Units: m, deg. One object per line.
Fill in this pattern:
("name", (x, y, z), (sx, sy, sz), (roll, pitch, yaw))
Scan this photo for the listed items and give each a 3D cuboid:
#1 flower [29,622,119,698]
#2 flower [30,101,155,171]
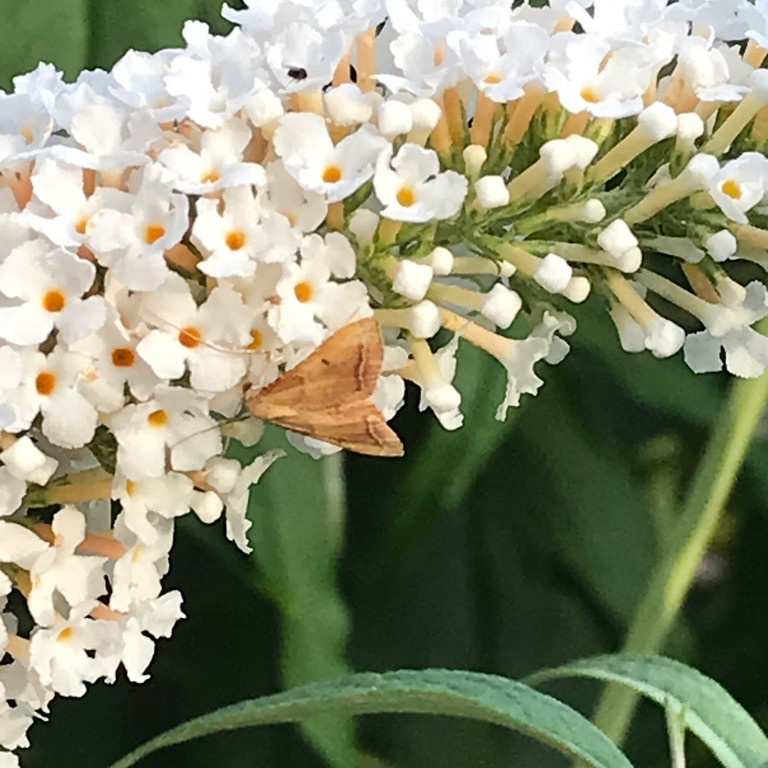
("flower", (-0.212, 0.189, 0.666), (0.061, 0.037, 0.047), (-18, 51, -23))
("flower", (-0.196, -0.161, 0.641), (0.068, 0.036, 0.072), (-7, 46, -14))
